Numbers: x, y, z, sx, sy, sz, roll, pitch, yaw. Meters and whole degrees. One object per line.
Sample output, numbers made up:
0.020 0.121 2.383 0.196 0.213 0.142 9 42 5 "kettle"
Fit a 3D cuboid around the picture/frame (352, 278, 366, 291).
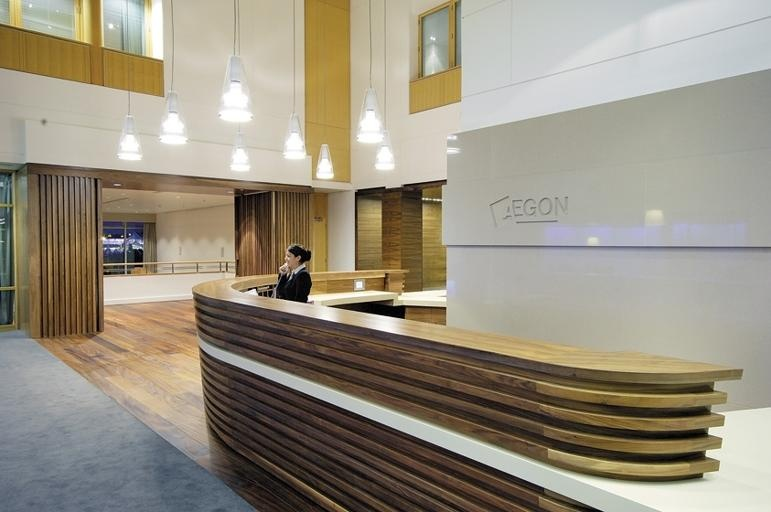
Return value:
-0.424 0.436 7.970 0.285 0.263 0.152 0 1 -35 "picture/frame"
